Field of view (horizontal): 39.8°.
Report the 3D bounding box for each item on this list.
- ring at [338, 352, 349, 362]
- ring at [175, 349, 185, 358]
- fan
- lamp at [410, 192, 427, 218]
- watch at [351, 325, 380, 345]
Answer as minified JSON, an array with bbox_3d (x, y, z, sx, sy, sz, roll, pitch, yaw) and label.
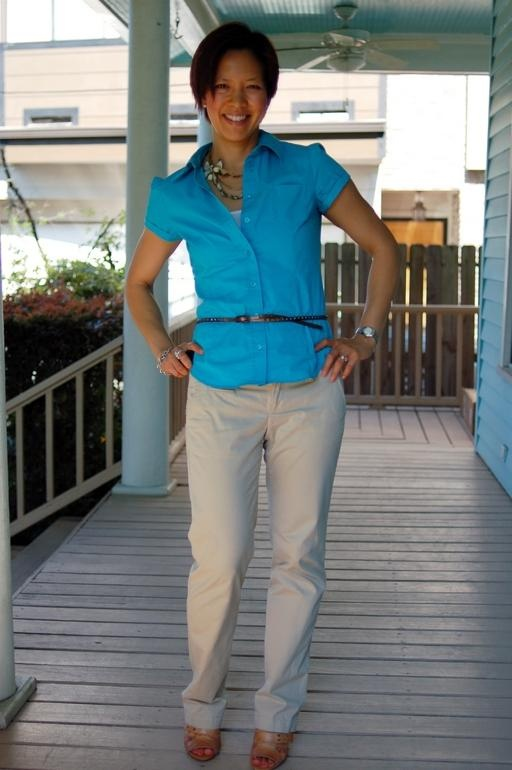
[{"bbox_3d":[0.183,-0.057,1.463,0.014,0.007,0.018,10,49,-15],"label":"ring"},{"bbox_3d":[-0.170,-0.069,1.533,0.017,0.021,0.008,-3,-8,8],"label":"ring"},{"bbox_3d":[0.788,-2.741,5.924,1.104,0.423,0.956,-1,-1,1],"label":"fan"},{"bbox_3d":[3.298,-3.663,14.415,0.340,0.558,0.123,0,5,-1],"label":"lamp"},{"bbox_3d":[0.240,-0.111,1.572,0.056,0.033,0.052,5,-11,31],"label":"watch"}]
